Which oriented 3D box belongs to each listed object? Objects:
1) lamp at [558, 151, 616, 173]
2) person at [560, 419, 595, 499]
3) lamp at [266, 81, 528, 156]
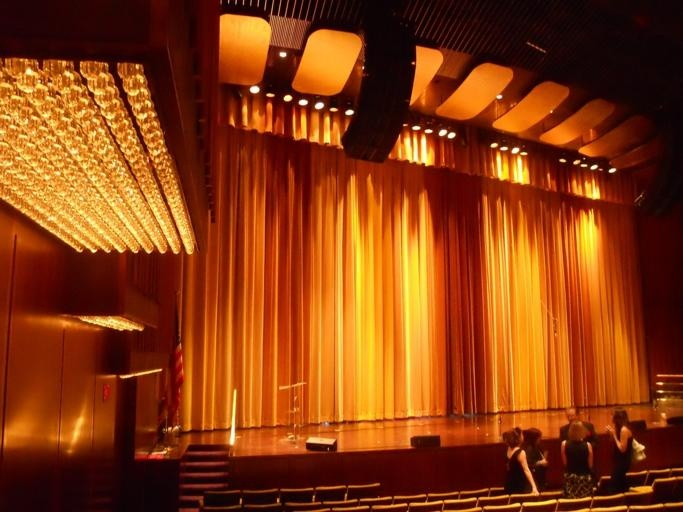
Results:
[{"bbox_3d":[5.919,-2.287,13.942,1.026,0.232,0.184,17,-25,-2],"label":"lamp"},{"bbox_3d":[2.700,2.442,6.603,0.319,1.075,0.300,-1,3,18],"label":"person"},{"bbox_3d":[0.884,-2.676,11.815,5.505,1.231,0.636,6,-19,-25],"label":"lamp"}]
